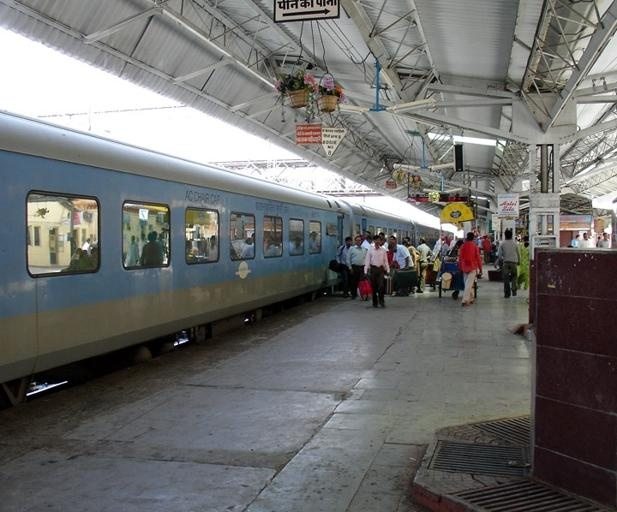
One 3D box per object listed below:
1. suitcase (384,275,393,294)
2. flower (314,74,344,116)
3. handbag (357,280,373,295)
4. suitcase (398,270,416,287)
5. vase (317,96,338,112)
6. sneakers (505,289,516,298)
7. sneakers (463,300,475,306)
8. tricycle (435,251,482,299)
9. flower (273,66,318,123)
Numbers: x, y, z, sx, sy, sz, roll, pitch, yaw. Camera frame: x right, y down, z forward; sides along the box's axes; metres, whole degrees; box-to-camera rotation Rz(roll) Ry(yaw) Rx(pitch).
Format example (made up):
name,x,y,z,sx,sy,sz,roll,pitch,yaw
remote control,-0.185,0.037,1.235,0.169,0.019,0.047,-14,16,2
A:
name,x,y,z,sx,sy,sz,roll,pitch,yaw
suitcase,2.733,1.005,15.854,0.348,0.665,0.691,-1,-5,15
flower,0.437,-3.838,10.704,0.761,0.993,0.730,1,3,12
handbag,1.878,1.106,15.117,0.420,0.809,0.585,1,-10,15
suitcase,3.377,0.773,15.827,0.550,0.558,0.544,0,0,3
vase,0.427,-3.511,10.617,0.509,0.353,0.532,0,-8,2
sneakers,6.619,1.240,15.079,0.546,0.178,0.139,5,-14,-45
sneakers,4.638,1.391,13.306,0.183,0.245,0.572,-5,-12,31
tricycle,4.844,0.655,15.446,1.011,1.006,1.797,0,0,23
flower,-0.213,-3.784,10.379,0.741,0.945,0.783,-9,14,-37
